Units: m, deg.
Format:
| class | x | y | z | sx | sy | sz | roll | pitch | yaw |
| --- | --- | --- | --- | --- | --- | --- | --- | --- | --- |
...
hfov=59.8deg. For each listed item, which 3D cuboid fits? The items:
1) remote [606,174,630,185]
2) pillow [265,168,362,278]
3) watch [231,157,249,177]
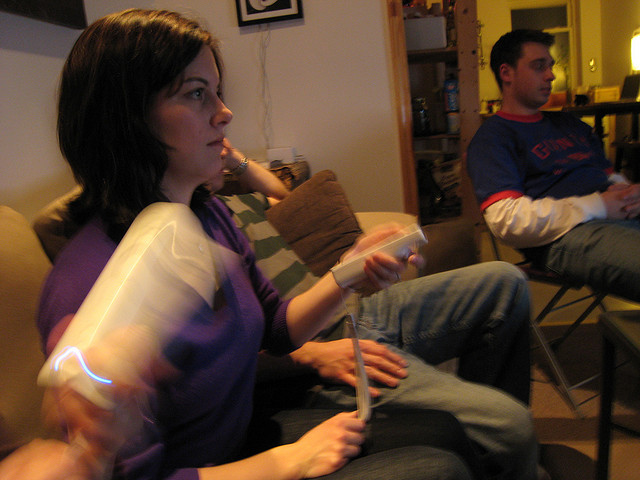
| class | x | y | z | sx | sy | sz | roll | pitch | yaw |
| --- | --- | --- | --- | --- | --- | --- | --- | --- | --- |
| remote | 1.230 | -0.255 | 2.321 | 0.062 | 0.024 | 0.059 | -16 | 32 | -37 |
| pillow | -0.110 | -0.026 | 2.099 | 0.469 | 0.120 | 0.433 | -9 | -27 | 14 |
| watch | -0.311 | -0.298 | 2.244 | 0.069 | 0.027 | 0.058 | -47 | 17 | -3 |
